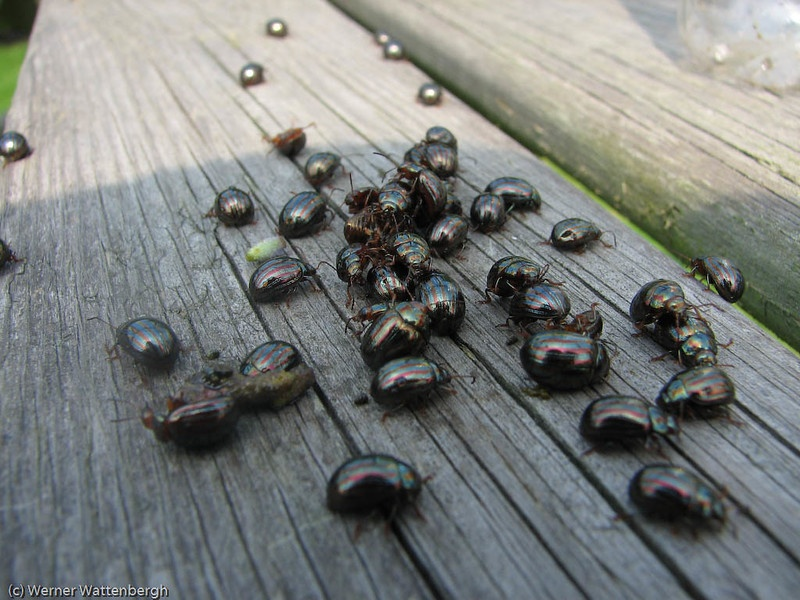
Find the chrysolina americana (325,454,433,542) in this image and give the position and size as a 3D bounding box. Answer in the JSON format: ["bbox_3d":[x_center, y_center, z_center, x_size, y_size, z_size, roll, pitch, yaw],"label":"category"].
[{"bbox_3d":[-0.107,0.780,2.677,0.341,0.194,0.285,-8,48,-5],"label":"chrysolina americana"}]

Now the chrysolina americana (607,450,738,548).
[{"bbox_3d":[1.093,0.782,2.616,0.321,0.116,0.253,23,61,16],"label":"chrysolina americana"}]
